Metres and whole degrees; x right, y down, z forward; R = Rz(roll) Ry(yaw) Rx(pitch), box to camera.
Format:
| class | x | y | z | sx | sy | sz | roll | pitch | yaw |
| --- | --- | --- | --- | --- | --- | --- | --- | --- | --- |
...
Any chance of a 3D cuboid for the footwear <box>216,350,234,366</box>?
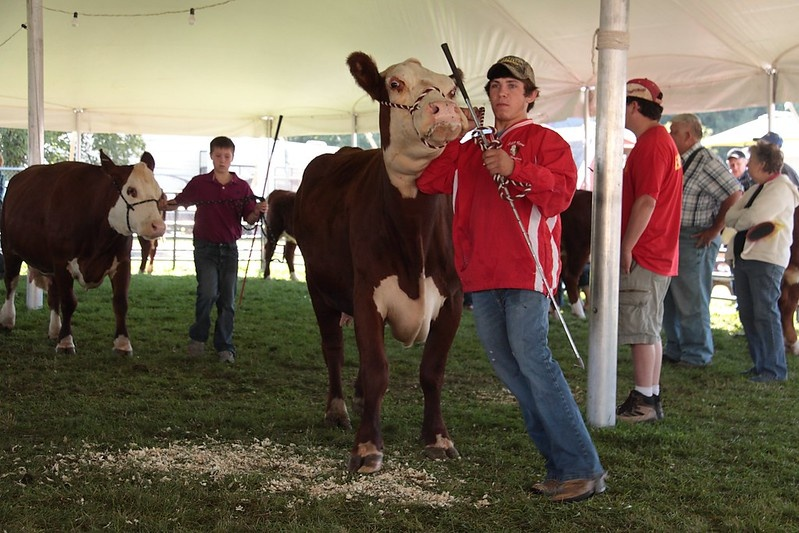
| class | x | y | z | sx | sy | sz | roll | pitch | yaw |
| --- | --- | --- | --- | --- | --- | --- | --- | --- | --- |
| footwear | -2.110 | 1.125 | 10.271 | 0.102 | 0.113 | 0.254 | -1 | -8 | -31 |

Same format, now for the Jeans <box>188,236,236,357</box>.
| class | x | y | z | sx | sy | sz | roll | pitch | yaw |
| --- | --- | --- | --- | --- | --- | --- | --- | --- | --- |
| Jeans | -2.295 | 0.390 | 10.366 | 0.600 | 1.368 | 0.540 | -2 | 13 | -10 |

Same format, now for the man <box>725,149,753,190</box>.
| class | x | y | z | sx | sy | sz | roll | pitch | yaw |
| --- | --- | --- | --- | --- | --- | --- | --- | --- | --- |
| man | 5.353 | -1.399 | 13.188 | 0.363 | 0.611 | 1.164 | 2 | 0 | 32 |

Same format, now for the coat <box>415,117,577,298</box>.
| class | x | y | z | sx | sy | sz | roll | pitch | yaw |
| --- | --- | --- | --- | --- | --- | --- | --- | --- | --- |
| coat | 0.763 | -0.522 | 7.054 | 1.402 | 1.498 | 0.841 | 0 | -2 | 26 |

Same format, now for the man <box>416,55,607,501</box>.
| class | x | y | z | sx | sy | sz | roll | pitch | yaw |
| --- | --- | --- | --- | --- | --- | --- | --- | --- | --- |
| man | 0.910 | 0.044 | 7.258 | 1.452 | 3.751 | 1.654 | 6 | -11 | -42 |

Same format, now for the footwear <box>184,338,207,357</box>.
| class | x | y | z | sx | sy | sz | roll | pitch | yaw |
| --- | --- | --- | --- | --- | --- | --- | --- | --- | --- |
| footwear | -2.556 | 1.045 | 10.468 | 0.256 | 0.249 | 0.150 | -8 | -11 | 33 |

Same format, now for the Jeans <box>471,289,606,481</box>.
| class | x | y | z | sx | sy | sz | roll | pitch | yaw |
| --- | --- | --- | --- | --- | --- | --- | --- | --- | --- |
| Jeans | 1.134 | 0.877 | 7.216 | 0.690 | 2.127 | 0.635 | -19 | 4 | 5 |

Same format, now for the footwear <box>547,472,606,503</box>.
| class | x | y | z | sx | sy | sz | roll | pitch | yaw |
| --- | --- | --- | --- | --- | --- | --- | --- | --- | --- |
| footwear | 1.472 | 1.850 | 7.048 | 0.507 | 0.225 | 0.186 | -5 | 3 | -14 |

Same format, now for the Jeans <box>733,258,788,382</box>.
| class | x | y | z | sx | sy | sz | roll | pitch | yaw |
| --- | --- | --- | --- | --- | --- | --- | --- | --- | --- |
| Jeans | 4.305 | 0.613 | 9.918 | 0.470 | 1.301 | 0.858 | 0 | 13 | -2 |

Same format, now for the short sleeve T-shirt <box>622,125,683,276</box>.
| class | x | y | z | sx | sy | sz | roll | pitch | yaw |
| --- | --- | --- | --- | --- | --- | --- | --- | --- | --- |
| short sleeve T-shirt | 2.600 | -0.700 | 8.683 | 0.602 | 1.552 | 1.188 | 3 | 6 | 23 |

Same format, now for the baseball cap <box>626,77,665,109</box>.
| class | x | y | z | sx | sy | sz | roll | pitch | yaw |
| --- | --- | --- | --- | --- | --- | --- | --- | --- | --- |
| baseball cap | 2.492 | -1.758 | 8.592 | 0.389 | 0.213 | 0.255 | 14 | 14 | 3 |

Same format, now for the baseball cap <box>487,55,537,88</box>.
| class | x | y | z | sx | sy | sz | roll | pitch | yaw |
| --- | --- | --- | --- | --- | --- | --- | --- | --- | --- |
| baseball cap | 0.938 | -1.626 | 6.967 | 0.242 | 0.175 | 0.341 | 15 | -10 | 46 |
